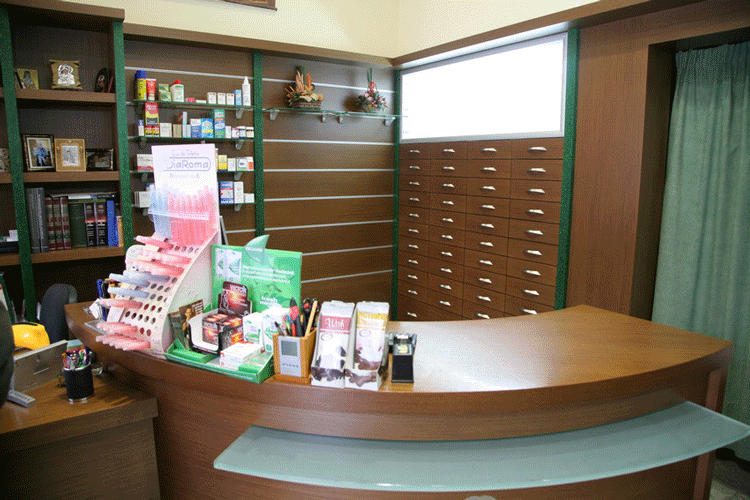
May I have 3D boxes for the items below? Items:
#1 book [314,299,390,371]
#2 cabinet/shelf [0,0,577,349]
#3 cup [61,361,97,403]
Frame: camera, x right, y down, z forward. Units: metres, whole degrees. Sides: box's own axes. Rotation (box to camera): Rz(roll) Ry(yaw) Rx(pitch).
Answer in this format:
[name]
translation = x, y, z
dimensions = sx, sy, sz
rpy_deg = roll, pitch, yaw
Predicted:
[book]
translation = -0.107, 0.395, 2.344
dimensions = 0.314, 0.296, 0.221
rpy_deg = 2, 10, 7
[cabinet/shelf]
translation = -0.673, -0.563, 5.102
dimensions = 4.314, 2.885, 1.855
rpy_deg = 0, 10, -7
[cup]
translation = -1.393, 0.637, 2.439
dimensions = 0.135, 0.165, 0.174
rpy_deg = 0, -3, -16
